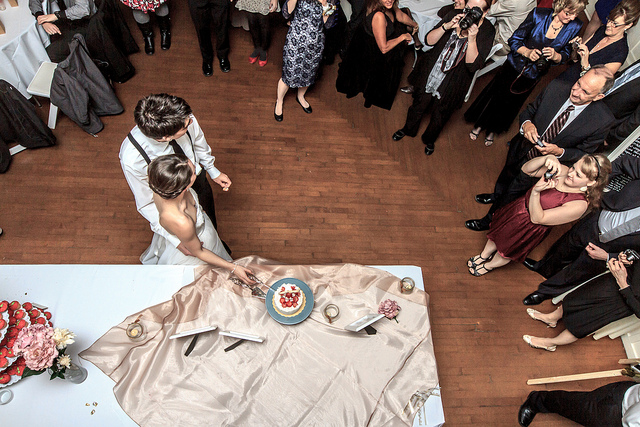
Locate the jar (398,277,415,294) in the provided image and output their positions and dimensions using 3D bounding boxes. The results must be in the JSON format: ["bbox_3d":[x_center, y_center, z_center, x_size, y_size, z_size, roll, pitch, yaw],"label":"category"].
[{"bbox_3d":[0.788,0.664,4.472,0.120,0.139,0.140,-2,80,4],"label":"jar"}]

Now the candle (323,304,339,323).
[{"bbox_3d":[0.098,0.902,4.350,0.100,0.055,0.164,2,68,2],"label":"candle"}]

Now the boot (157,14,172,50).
[{"bbox_3d":[-2.175,-2.507,6.799,0.159,0.491,0.475,-4,83,-5],"label":"boot"}]

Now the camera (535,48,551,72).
[{"bbox_3d":[2.575,-1.761,5.675,0.129,0.202,0.231,0,60,29],"label":"camera"}]

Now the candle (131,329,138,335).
[{"bbox_3d":[-1.595,1.020,4.195,0.040,0.010,0.047,0,92,-7],"label":"candle"}]

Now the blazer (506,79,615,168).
[{"bbox_3d":[2.705,-0.945,5.655,0.764,0.948,1.201,0,85,9],"label":"blazer"}]

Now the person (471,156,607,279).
[{"bbox_3d":[2.268,0.028,5.434,0.704,1.995,0.794,6,54,-20],"label":"person"}]

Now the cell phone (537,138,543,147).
[{"bbox_3d":[2.415,-0.776,5.374,0.037,0.038,0.118,15,53,2],"label":"cell phone"}]

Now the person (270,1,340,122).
[{"bbox_3d":[-0.224,-1.930,6.144,0.680,1.556,0.695,9,51,-2],"label":"person"}]

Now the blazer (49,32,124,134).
[{"bbox_3d":[-2.948,-1.607,6.086,0.506,0.971,0.815,6,58,5],"label":"blazer"}]

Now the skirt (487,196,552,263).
[{"bbox_3d":[2.181,0.177,5.394,0.343,0.596,0.568,-5,75,-18],"label":"skirt"}]

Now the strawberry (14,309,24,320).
[{"bbox_3d":[-2.492,0.837,4.047,0.068,0.039,0.056,-33,90,-3],"label":"strawberry"}]

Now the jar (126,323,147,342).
[{"bbox_3d":[-1.577,1.025,4.207,0.147,0.089,0.162,-24,93,-8],"label":"jar"}]

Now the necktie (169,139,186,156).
[{"bbox_3d":[-1.374,-0.639,4.679,0.132,0.240,0.068,-26,59,-26],"label":"necktie"}]

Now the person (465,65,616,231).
[{"bbox_3d":[2.512,-0.659,5.797,0.737,2.282,0.779,-30,66,-31],"label":"person"}]

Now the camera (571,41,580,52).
[{"bbox_3d":[2.938,-1.922,5.636,0.054,0.161,0.124,-22,102,22],"label":"camera"}]

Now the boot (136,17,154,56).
[{"bbox_3d":[-2.266,-2.428,6.697,0.191,0.481,0.490,-5,84,-1],"label":"boot"}]

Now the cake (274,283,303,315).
[{"bbox_3d":[-0.286,0.769,4.364,0.245,0.089,0.271,-10,44,-22],"label":"cake"}]

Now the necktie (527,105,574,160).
[{"bbox_3d":[2.548,-0.870,5.450,0.052,0.749,0.169,-10,47,-37],"label":"necktie"}]

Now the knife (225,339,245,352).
[{"bbox_3d":[-0.737,1.146,4.234,0.178,0.010,0.026,-34,80,-19],"label":"knife"}]

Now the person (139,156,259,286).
[{"bbox_3d":[-1.238,0.126,4.881,0.515,0.978,0.737,-17,79,-13],"label":"person"}]

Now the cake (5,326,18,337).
[{"bbox_3d":[-2.514,0.972,3.996,0.075,0.028,0.070,5,54,-7],"label":"cake"}]

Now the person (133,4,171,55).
[{"bbox_3d":[-2.306,-2.500,6.696,0.441,0.805,0.521,-9,75,-8],"label":"person"}]

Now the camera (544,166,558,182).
[{"bbox_3d":[2.312,-0.396,4.918,0.047,0.145,0.080,-13,44,-29],"label":"camera"}]
